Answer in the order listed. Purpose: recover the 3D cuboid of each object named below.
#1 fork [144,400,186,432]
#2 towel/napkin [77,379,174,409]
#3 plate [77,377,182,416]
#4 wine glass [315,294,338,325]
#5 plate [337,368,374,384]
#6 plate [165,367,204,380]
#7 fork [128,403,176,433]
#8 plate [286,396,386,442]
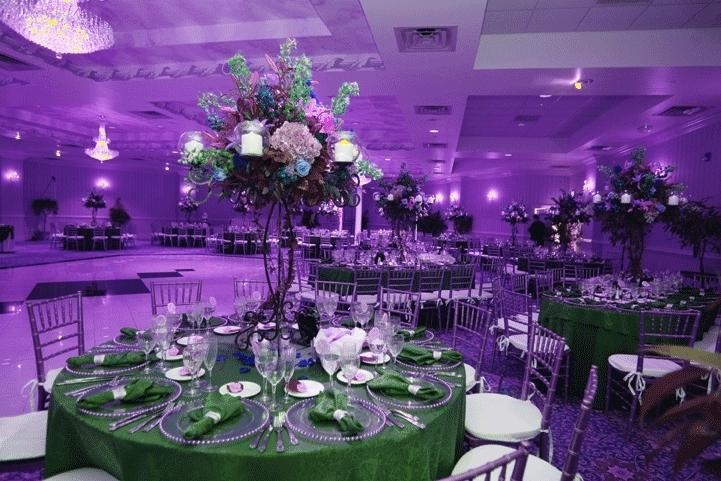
[{"bbox_3d":[-1.337,1.209,3.242,0.040,0.037,0.296,-3,18,19],"label":"fork"},{"bbox_3d":[-1.639,1.016,3.333,0.547,0.143,0.236,-5,25,-23],"label":"towel/napkin"},{"bbox_3d":[-1.637,1.119,3.353,0.499,0.161,0.284,3,12,-35],"label":"plate"},{"bbox_3d":[-0.328,0.646,4.623,0.243,0.379,0.234,-1,9,-6],"label":"wine glass"},{"bbox_3d":[-0.032,1.056,3.669,0.170,0.027,0.175,2,10,1],"label":"plate"},{"bbox_3d":[-1.382,1.021,3.618,0.128,0.020,0.135,5,10,2],"label":"plate"},{"bbox_3d":[-1.422,1.216,3.236,0.037,0.040,0.269,17,25,19],"label":"fork"},{"bbox_3d":[-0.166,1.233,3.260,0.684,0.169,0.317,-1,5,-2],"label":"plate"}]
